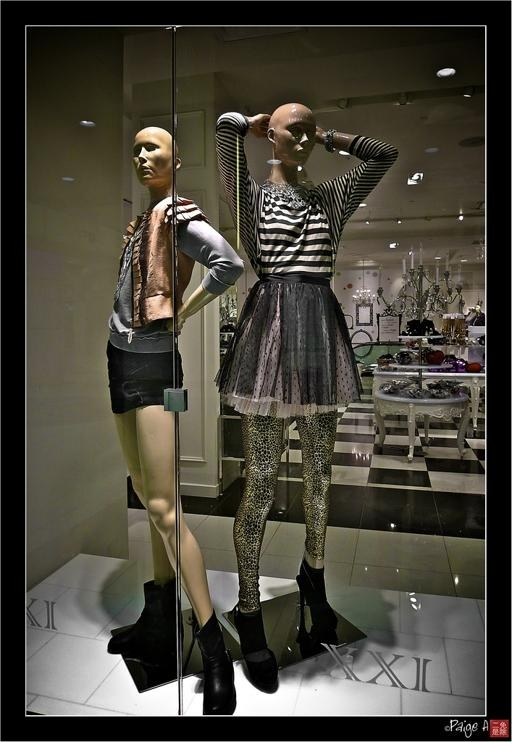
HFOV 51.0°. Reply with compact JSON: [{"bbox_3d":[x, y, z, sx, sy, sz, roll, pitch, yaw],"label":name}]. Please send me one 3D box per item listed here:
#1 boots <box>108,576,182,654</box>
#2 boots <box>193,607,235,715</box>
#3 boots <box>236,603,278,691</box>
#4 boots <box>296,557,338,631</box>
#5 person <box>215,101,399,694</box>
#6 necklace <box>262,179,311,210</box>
[{"bbox_3d":[-0.267,0.585,1.267,0.158,0.175,0.083,3,-4,9],"label":"boots"},{"bbox_3d":[-0.091,0.669,1.207,0.062,0.164,0.163,-14,7,-1],"label":"boots"},{"bbox_3d":[-0.014,0.599,1.243,0.058,0.094,0.214,-10,40,-9],"label":"boots"},{"bbox_3d":[0.126,0.505,1.239,0.050,0.186,0.077,-9,-20,-12],"label":"boots"},{"bbox_3d":[0.099,0.017,1.207,0.389,1.197,0.175,2,7,13],"label":"person"},{"bbox_3d":[0.071,-0.391,1.181,0.072,0.032,0.061,19,26,15],"label":"necklace"}]
